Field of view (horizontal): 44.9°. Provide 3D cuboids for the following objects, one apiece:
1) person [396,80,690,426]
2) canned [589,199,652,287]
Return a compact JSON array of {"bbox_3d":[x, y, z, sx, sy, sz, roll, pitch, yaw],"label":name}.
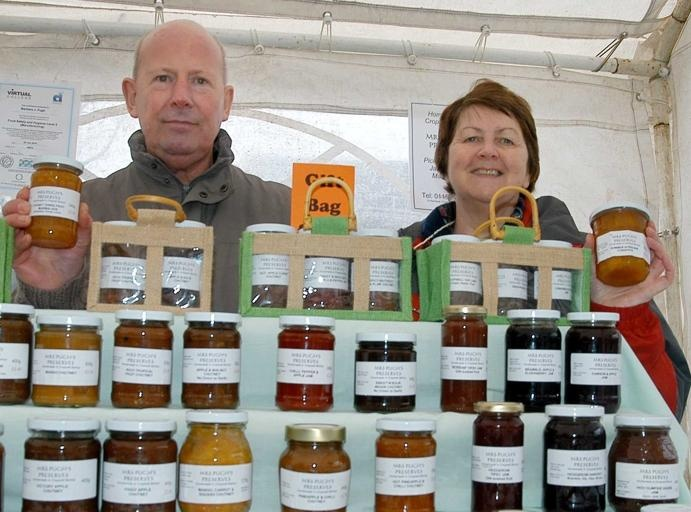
[{"bbox_3d":[0.601,-0.089,3.092,1.333,1.353,0.854,1,-4,1],"label":"person"},{"bbox_3d":[0.777,-0.026,2.374,0.154,0.219,0.136,-7,-11,40],"label":"canned"}]
